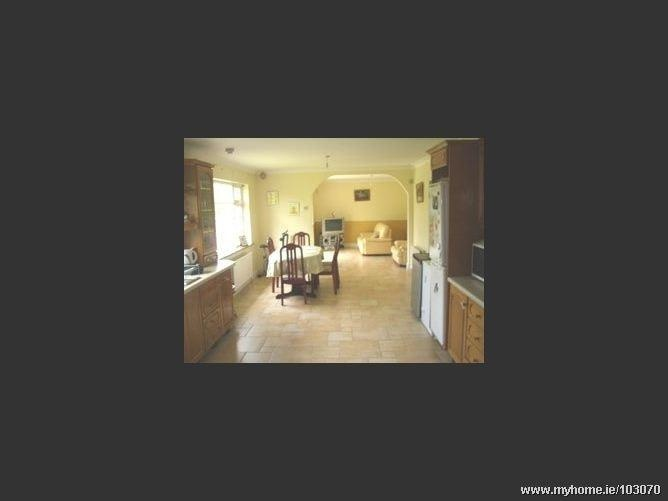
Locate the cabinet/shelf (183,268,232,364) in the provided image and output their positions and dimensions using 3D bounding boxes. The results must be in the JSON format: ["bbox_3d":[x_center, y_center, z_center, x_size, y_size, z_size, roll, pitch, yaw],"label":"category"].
[{"bbox_3d":[-1.163,0.598,4.495,0.229,0.472,0.771,-1,12,0],"label":"cabinet/shelf"}]

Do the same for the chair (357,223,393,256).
[{"bbox_3d":[0.835,-0.220,10.503,0.649,0.577,0.752,-1,9,1],"label":"chair"}]

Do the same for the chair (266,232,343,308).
[{"bbox_3d":[-0.452,0.309,6.682,0.829,0.607,0.888,2,16,11],"label":"chair"}]

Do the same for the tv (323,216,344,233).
[{"bbox_3d":[-0.053,-0.632,10.895,0.488,0.371,0.275,-1,10,-13],"label":"tv"}]
